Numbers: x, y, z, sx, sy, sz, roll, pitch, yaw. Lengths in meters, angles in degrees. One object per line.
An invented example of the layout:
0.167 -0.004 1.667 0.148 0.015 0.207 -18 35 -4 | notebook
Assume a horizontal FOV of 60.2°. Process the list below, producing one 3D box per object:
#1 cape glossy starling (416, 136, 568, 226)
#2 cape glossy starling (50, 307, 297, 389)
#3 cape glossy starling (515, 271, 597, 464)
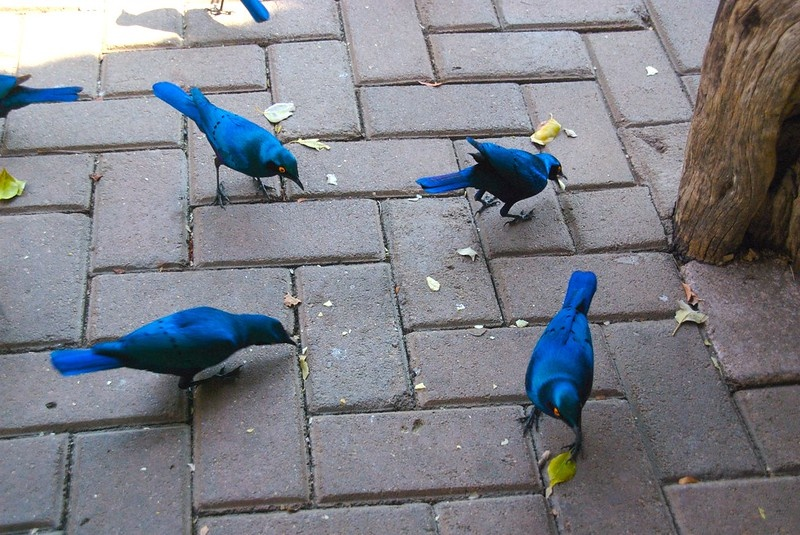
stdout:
0.559 -0.494 4.023 0.981 0.432 0.324 3 22 -24 | cape glossy starling
-0.992 0.343 3.545 1.390 0.440 0.390 5 36 -31 | cape glossy starling
0.810 0.431 3.378 0.310 0.913 0.500 12 2 24 | cape glossy starling
